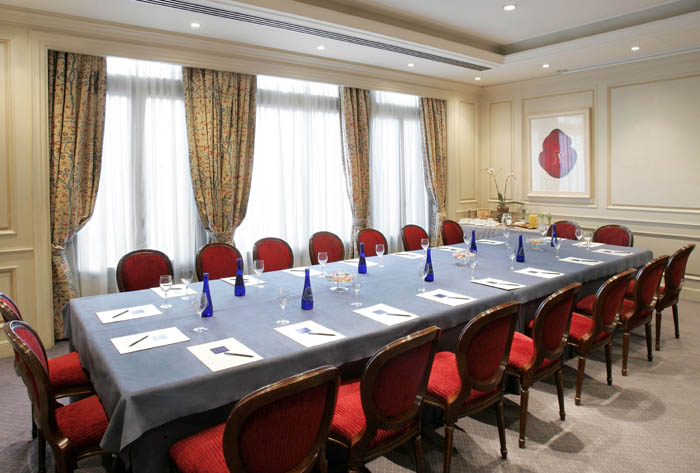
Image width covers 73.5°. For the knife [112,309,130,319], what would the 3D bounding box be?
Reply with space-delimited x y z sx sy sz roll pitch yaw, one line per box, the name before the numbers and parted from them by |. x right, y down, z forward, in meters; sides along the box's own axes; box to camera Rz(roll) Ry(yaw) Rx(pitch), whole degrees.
knife | -1.834 0.618 3.796 0.026 0.028 0.200 17 19 26

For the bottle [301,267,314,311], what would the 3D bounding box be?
bottle | -0.365 0.430 4.008 0.104 0.321 0.335 -3 8 -5

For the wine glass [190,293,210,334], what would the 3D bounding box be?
wine glass | -1.145 0.553 3.563 0.113 0.307 0.364 -5 8 -19

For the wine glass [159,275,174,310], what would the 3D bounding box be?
wine glass | -1.566 0.444 4.018 0.087 0.273 0.411 -6 9 -22

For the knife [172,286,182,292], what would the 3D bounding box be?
knife | -1.606 0.492 4.393 0.043 0.016 0.059 12 11 39

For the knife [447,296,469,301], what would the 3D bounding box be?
knife | 0.953 0.545 4.114 0.285 0.026 0.056 -1 2 -5

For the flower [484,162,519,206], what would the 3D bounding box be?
flower | 2.720 -0.936 8.376 0.321 0.927 0.778 -5 3 -43
